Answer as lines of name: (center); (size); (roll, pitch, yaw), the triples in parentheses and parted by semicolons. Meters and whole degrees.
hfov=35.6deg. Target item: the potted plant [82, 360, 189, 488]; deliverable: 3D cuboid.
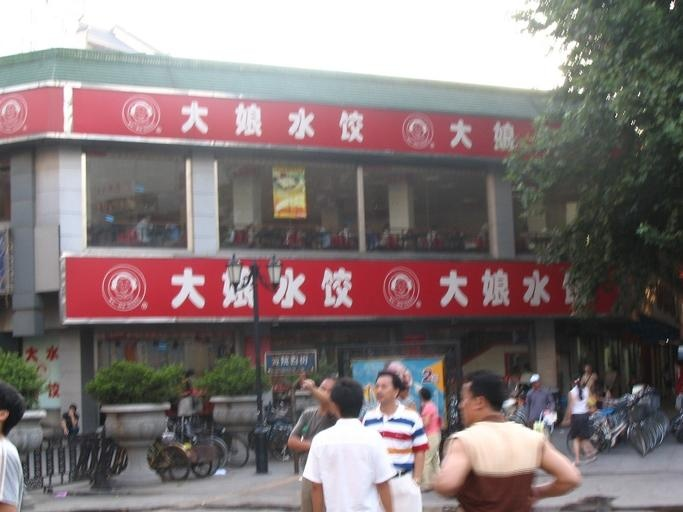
potted plant: (-4.813, 4.026, 25.181); (2.123, 2.680, 2.378); (-2, -1, -10)

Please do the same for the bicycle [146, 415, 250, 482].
bicycle: (-3.605, 4.810, 26.204); (0.970, 1.329, 2.487); (-4, -4, 43)

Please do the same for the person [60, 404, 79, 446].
person: (-7.967, 4.837, 31.341); (0.519, 1.030, 1.298); (-1, -9, -15)
